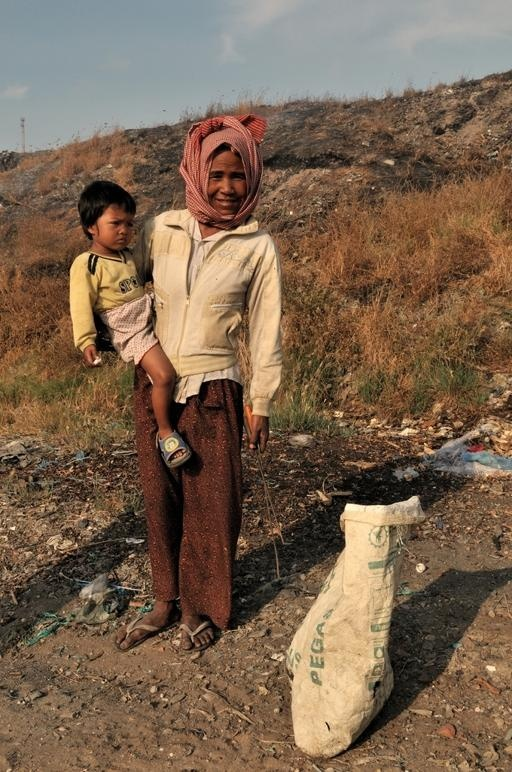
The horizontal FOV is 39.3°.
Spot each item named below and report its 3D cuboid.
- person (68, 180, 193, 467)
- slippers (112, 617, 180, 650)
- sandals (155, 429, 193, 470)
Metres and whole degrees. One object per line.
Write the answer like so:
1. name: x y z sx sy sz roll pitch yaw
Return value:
1. person: -0.463 -0.184 2.549 0.350 1.079 0.332 -8 13 -12
2. slippers: -0.443 0.968 2.862 0.232 0.055 0.101 -22 24 -28
3. sandals: -0.289 0.236 2.564 0.082 0.061 0.152 -35 53 3
